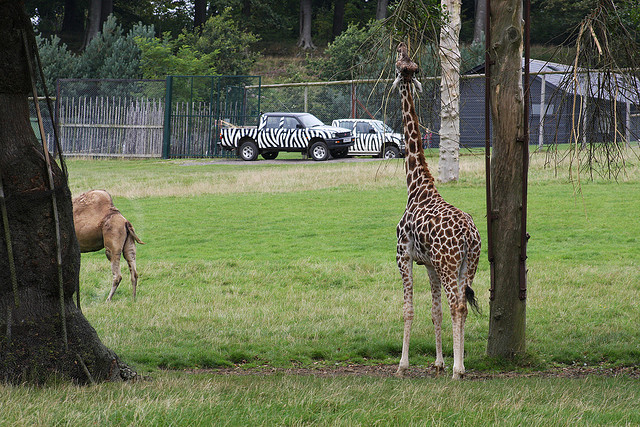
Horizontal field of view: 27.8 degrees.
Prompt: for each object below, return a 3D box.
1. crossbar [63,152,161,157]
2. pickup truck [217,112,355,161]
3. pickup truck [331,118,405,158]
[{"bbox_3d":[-8.302,-2.380,52.373,3.817,0.256,0.298,-1,4,7],"label":"crossbar"},{"bbox_3d":[-1.274,-3.121,51.426,5.163,2.079,2.432,0,7,21],"label":"pickup truck"},{"bbox_3d":[2.150,-2.946,52.607,3.373,1.884,1.893,2,1,26],"label":"pickup truck"}]
